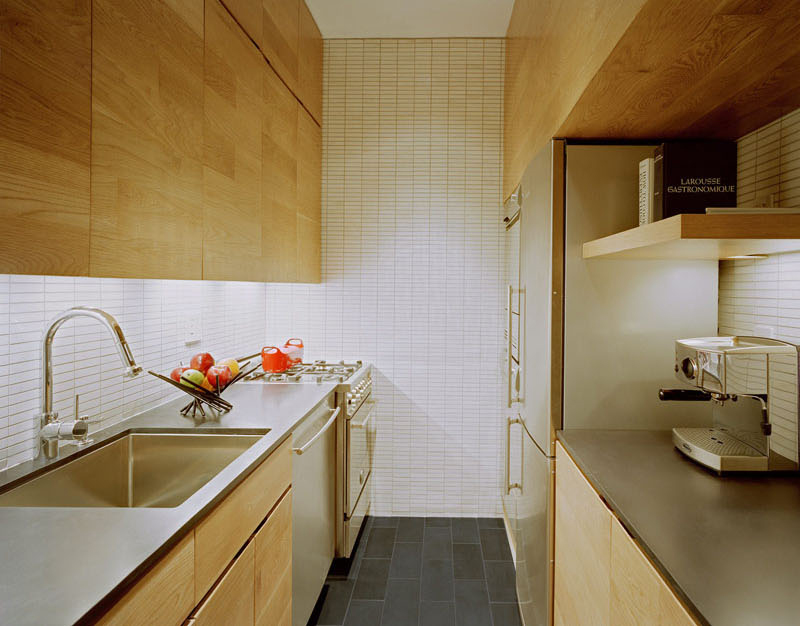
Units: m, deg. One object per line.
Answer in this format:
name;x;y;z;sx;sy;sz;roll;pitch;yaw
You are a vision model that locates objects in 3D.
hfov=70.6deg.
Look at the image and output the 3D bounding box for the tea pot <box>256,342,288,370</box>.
tea pot;-0.679;0.235;3.009;0.146;0.165;0.121;1;-4;-9
